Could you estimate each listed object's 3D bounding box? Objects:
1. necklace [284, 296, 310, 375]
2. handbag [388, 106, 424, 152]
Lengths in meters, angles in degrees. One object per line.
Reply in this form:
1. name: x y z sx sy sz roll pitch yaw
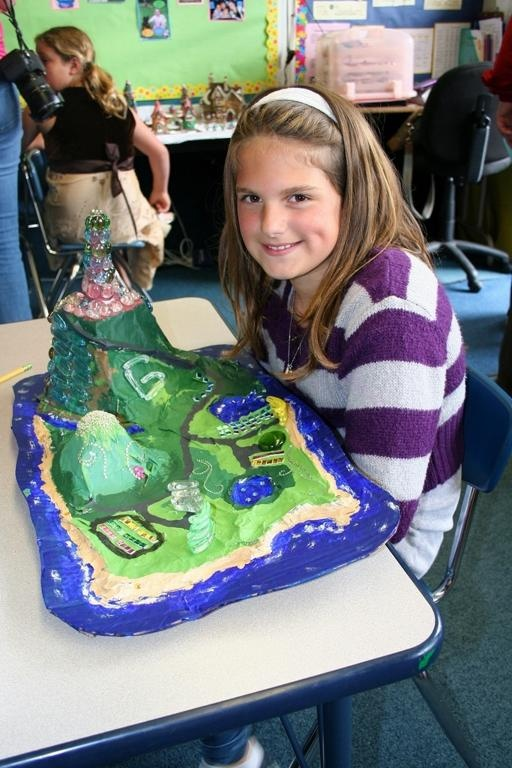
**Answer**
1. necklace: 0.060 -0.069 0.879 0.034 0.109 0.021 -2 -14 1
2. handbag: 0.656 -1.134 2.787 0.080 0.218 0.167 15 68 4
